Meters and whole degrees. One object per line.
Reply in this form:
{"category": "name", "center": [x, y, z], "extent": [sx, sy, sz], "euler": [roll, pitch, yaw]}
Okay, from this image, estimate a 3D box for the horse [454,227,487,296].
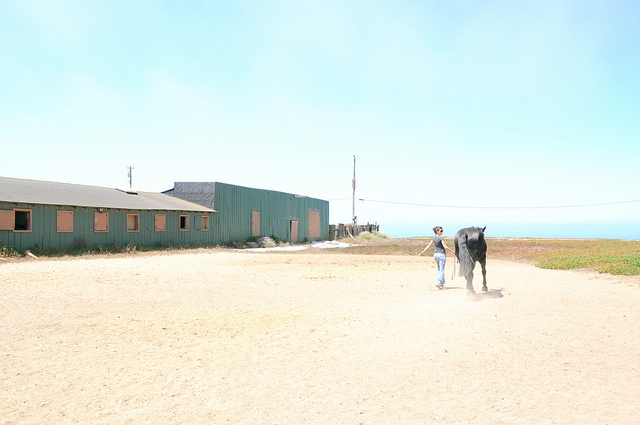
{"category": "horse", "center": [5.780, 1.641, 18.575], "extent": [0.987, 2.667, 4.014], "euler": [-4, -7, 26]}
